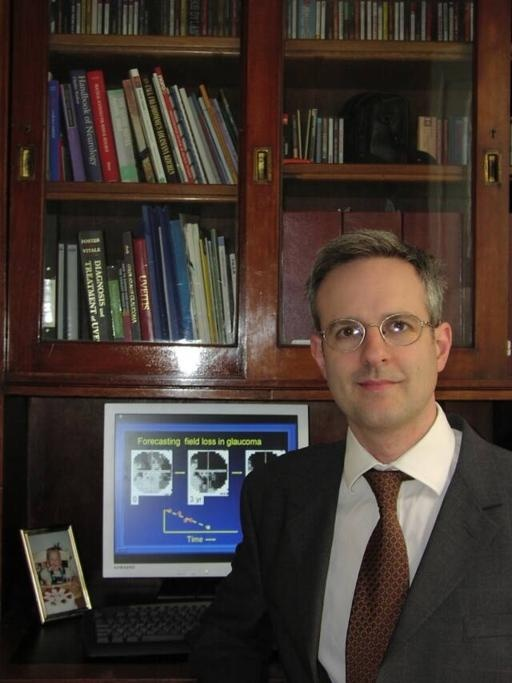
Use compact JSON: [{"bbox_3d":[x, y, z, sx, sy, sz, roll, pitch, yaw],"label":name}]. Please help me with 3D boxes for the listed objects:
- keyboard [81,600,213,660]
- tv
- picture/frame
[{"bbox_3d":[-0.222,0.577,1.422,0.227,0.032,0.130,2,13,-8],"label":"keyboard"},{"bbox_3d":[-0.126,0.360,1.600,0.513,0.402,0.036,0,-5,-1],"label":"tv"},{"bbox_3d":[-0.465,0.530,1.630,0.114,0.173,0.155,-9,10,-22],"label":"picture/frame"}]
